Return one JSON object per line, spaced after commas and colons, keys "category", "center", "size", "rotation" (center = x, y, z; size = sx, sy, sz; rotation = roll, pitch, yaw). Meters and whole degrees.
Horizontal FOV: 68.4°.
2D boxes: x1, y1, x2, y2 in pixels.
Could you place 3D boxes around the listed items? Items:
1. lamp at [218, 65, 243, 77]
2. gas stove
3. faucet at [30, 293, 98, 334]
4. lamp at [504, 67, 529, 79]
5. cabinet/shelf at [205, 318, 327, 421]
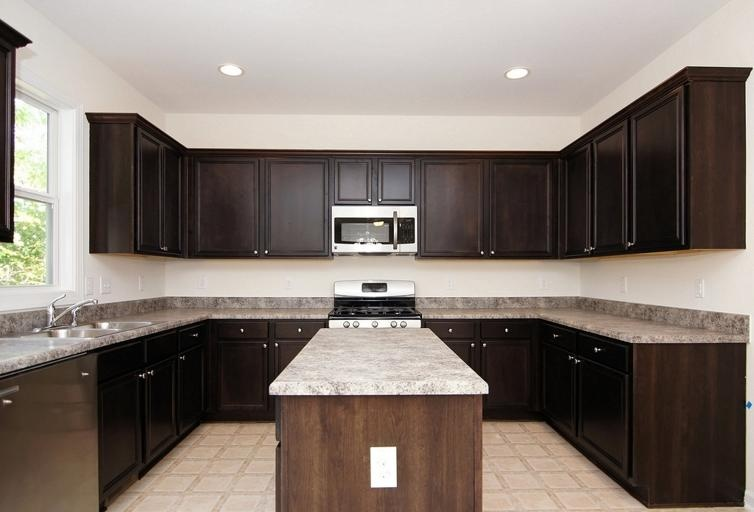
{"category": "lamp", "center": [-1.290, -1.651, 4.928], "size": [0.211, 0.059, 0.214], "rotation": [0, 4, -4]}
{"category": "gas stove", "center": [-0.032, 0.605, 5.646], "size": [0.900, 0.609, 0.546], "rotation": [1, 15, 3]}
{"category": "faucet", "center": [-2.364, 0.450, 4.282], "size": [0.325, 0.200, 0.323], "rotation": [-1, -2, 7]}
{"category": "lamp", "center": [1.242, -1.636, 4.965], "size": [0.205, 0.056, 0.228], "rotation": [1, 4, 12]}
{"category": "cabinet/shelf", "center": [-0.968, 0.909, 4.616], "size": [0.967, 0.824, 0.403], "rotation": [0, -3, -2]}
